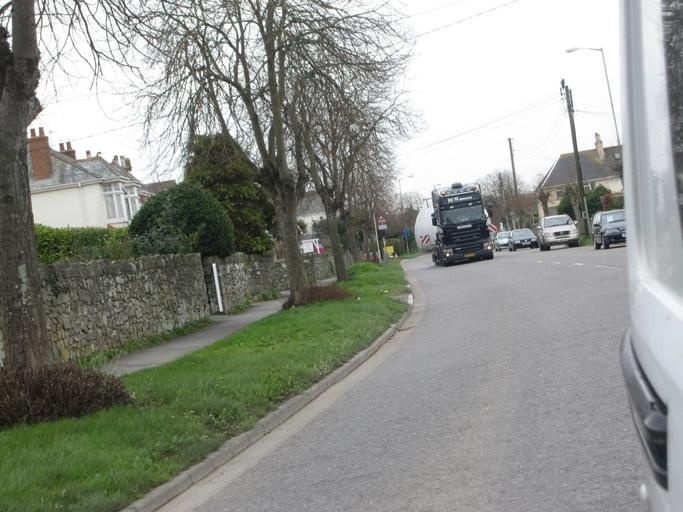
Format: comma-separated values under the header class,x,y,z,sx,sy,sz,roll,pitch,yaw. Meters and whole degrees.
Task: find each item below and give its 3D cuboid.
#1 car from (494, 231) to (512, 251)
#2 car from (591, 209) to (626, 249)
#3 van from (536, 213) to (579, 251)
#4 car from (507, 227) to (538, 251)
class,x,y,z,sx,sy,sz,roll,pitch,yaw
car,18.520,-1.845,62.239,1.459,1.875,3.146,-2,-3,6
car,15.512,-1.511,31.513,1.570,1.519,2.759,-8,3,25
van,15.827,-1.904,40.509,1.573,1.903,3.721,-2,-6,5
car,17.536,-1.680,53.834,1.353,1.573,3.464,-1,-4,1
